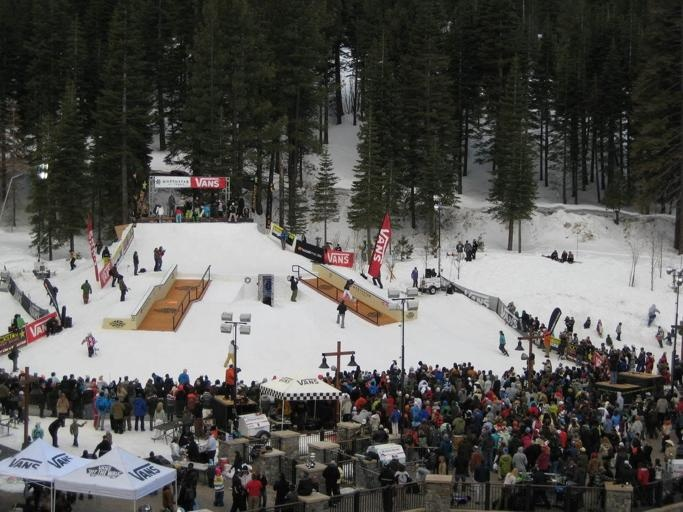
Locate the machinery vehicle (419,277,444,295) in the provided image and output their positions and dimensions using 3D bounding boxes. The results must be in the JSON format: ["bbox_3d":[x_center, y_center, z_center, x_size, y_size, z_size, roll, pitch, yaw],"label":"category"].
[{"bbox_3d":[6.701,2.226,81.488,1.564,1.130,1.070,-4,7,-25],"label":"machinery vehicle"}]

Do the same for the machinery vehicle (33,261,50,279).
[{"bbox_3d":[-22.598,1.072,83.188,1.058,1.044,1.899,0,8,-24],"label":"machinery vehicle"}]
